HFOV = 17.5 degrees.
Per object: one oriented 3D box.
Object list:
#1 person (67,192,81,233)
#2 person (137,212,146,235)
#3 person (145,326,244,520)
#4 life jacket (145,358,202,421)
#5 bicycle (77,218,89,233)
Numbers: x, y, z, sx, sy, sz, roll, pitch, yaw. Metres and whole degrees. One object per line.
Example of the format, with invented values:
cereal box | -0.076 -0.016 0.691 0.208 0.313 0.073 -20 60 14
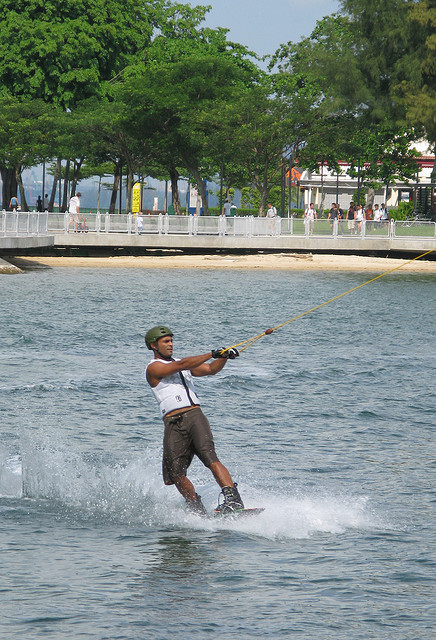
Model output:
person | -4.735 -3.447 46.005 0.425 1.176 1.507 1 2 -6
person | -2.563 -3.151 46.561 0.269 0.666 0.703 1 2 -3
person | -0.201 0.845 11.074 0.797 1.576 0.889 1 2 13
life jacket | -0.340 0.586 10.995 0.341 0.392 0.271 -1 3 -32
bicycle | -4.485 -3.120 46.285 0.419 0.315 0.258 1 4 38
